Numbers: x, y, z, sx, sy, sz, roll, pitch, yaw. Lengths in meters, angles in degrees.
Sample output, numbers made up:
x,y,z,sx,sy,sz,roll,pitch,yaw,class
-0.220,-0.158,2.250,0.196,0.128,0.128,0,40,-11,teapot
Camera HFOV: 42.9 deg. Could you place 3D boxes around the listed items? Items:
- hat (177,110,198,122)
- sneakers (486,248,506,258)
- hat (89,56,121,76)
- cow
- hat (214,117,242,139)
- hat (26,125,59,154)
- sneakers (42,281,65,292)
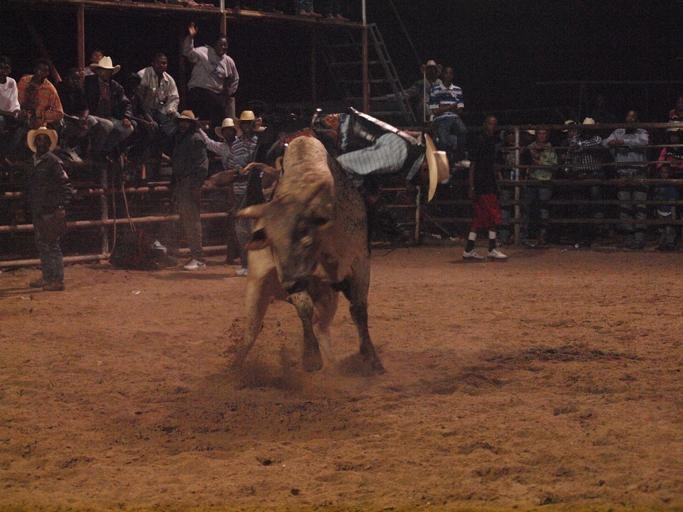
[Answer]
x,y,z,sx,sy,sz,roll,pitch,yaw,class
-2.717,-2.453,15.217,0.299,0.190,0.279,-2,5,-17,hat
3.042,-0.042,17.151,0.387,0.140,0.169,-1,2,40,sneakers
-4.168,-3.311,15.287,0.470,0.189,0.503,1,-4,-26,hat
-0.358,-0.034,9.128,1.167,2.475,1.825,1,6,7,cow
-2.140,-2.397,16.080,0.565,0.210,0.595,-6,-10,-7,hat
-4.641,-1.775,13.350,0.499,0.423,0.140,0,13,-30,hat
-4.431,0.467,13.334,0.245,0.085,0.164,3,11,12,sneakers
